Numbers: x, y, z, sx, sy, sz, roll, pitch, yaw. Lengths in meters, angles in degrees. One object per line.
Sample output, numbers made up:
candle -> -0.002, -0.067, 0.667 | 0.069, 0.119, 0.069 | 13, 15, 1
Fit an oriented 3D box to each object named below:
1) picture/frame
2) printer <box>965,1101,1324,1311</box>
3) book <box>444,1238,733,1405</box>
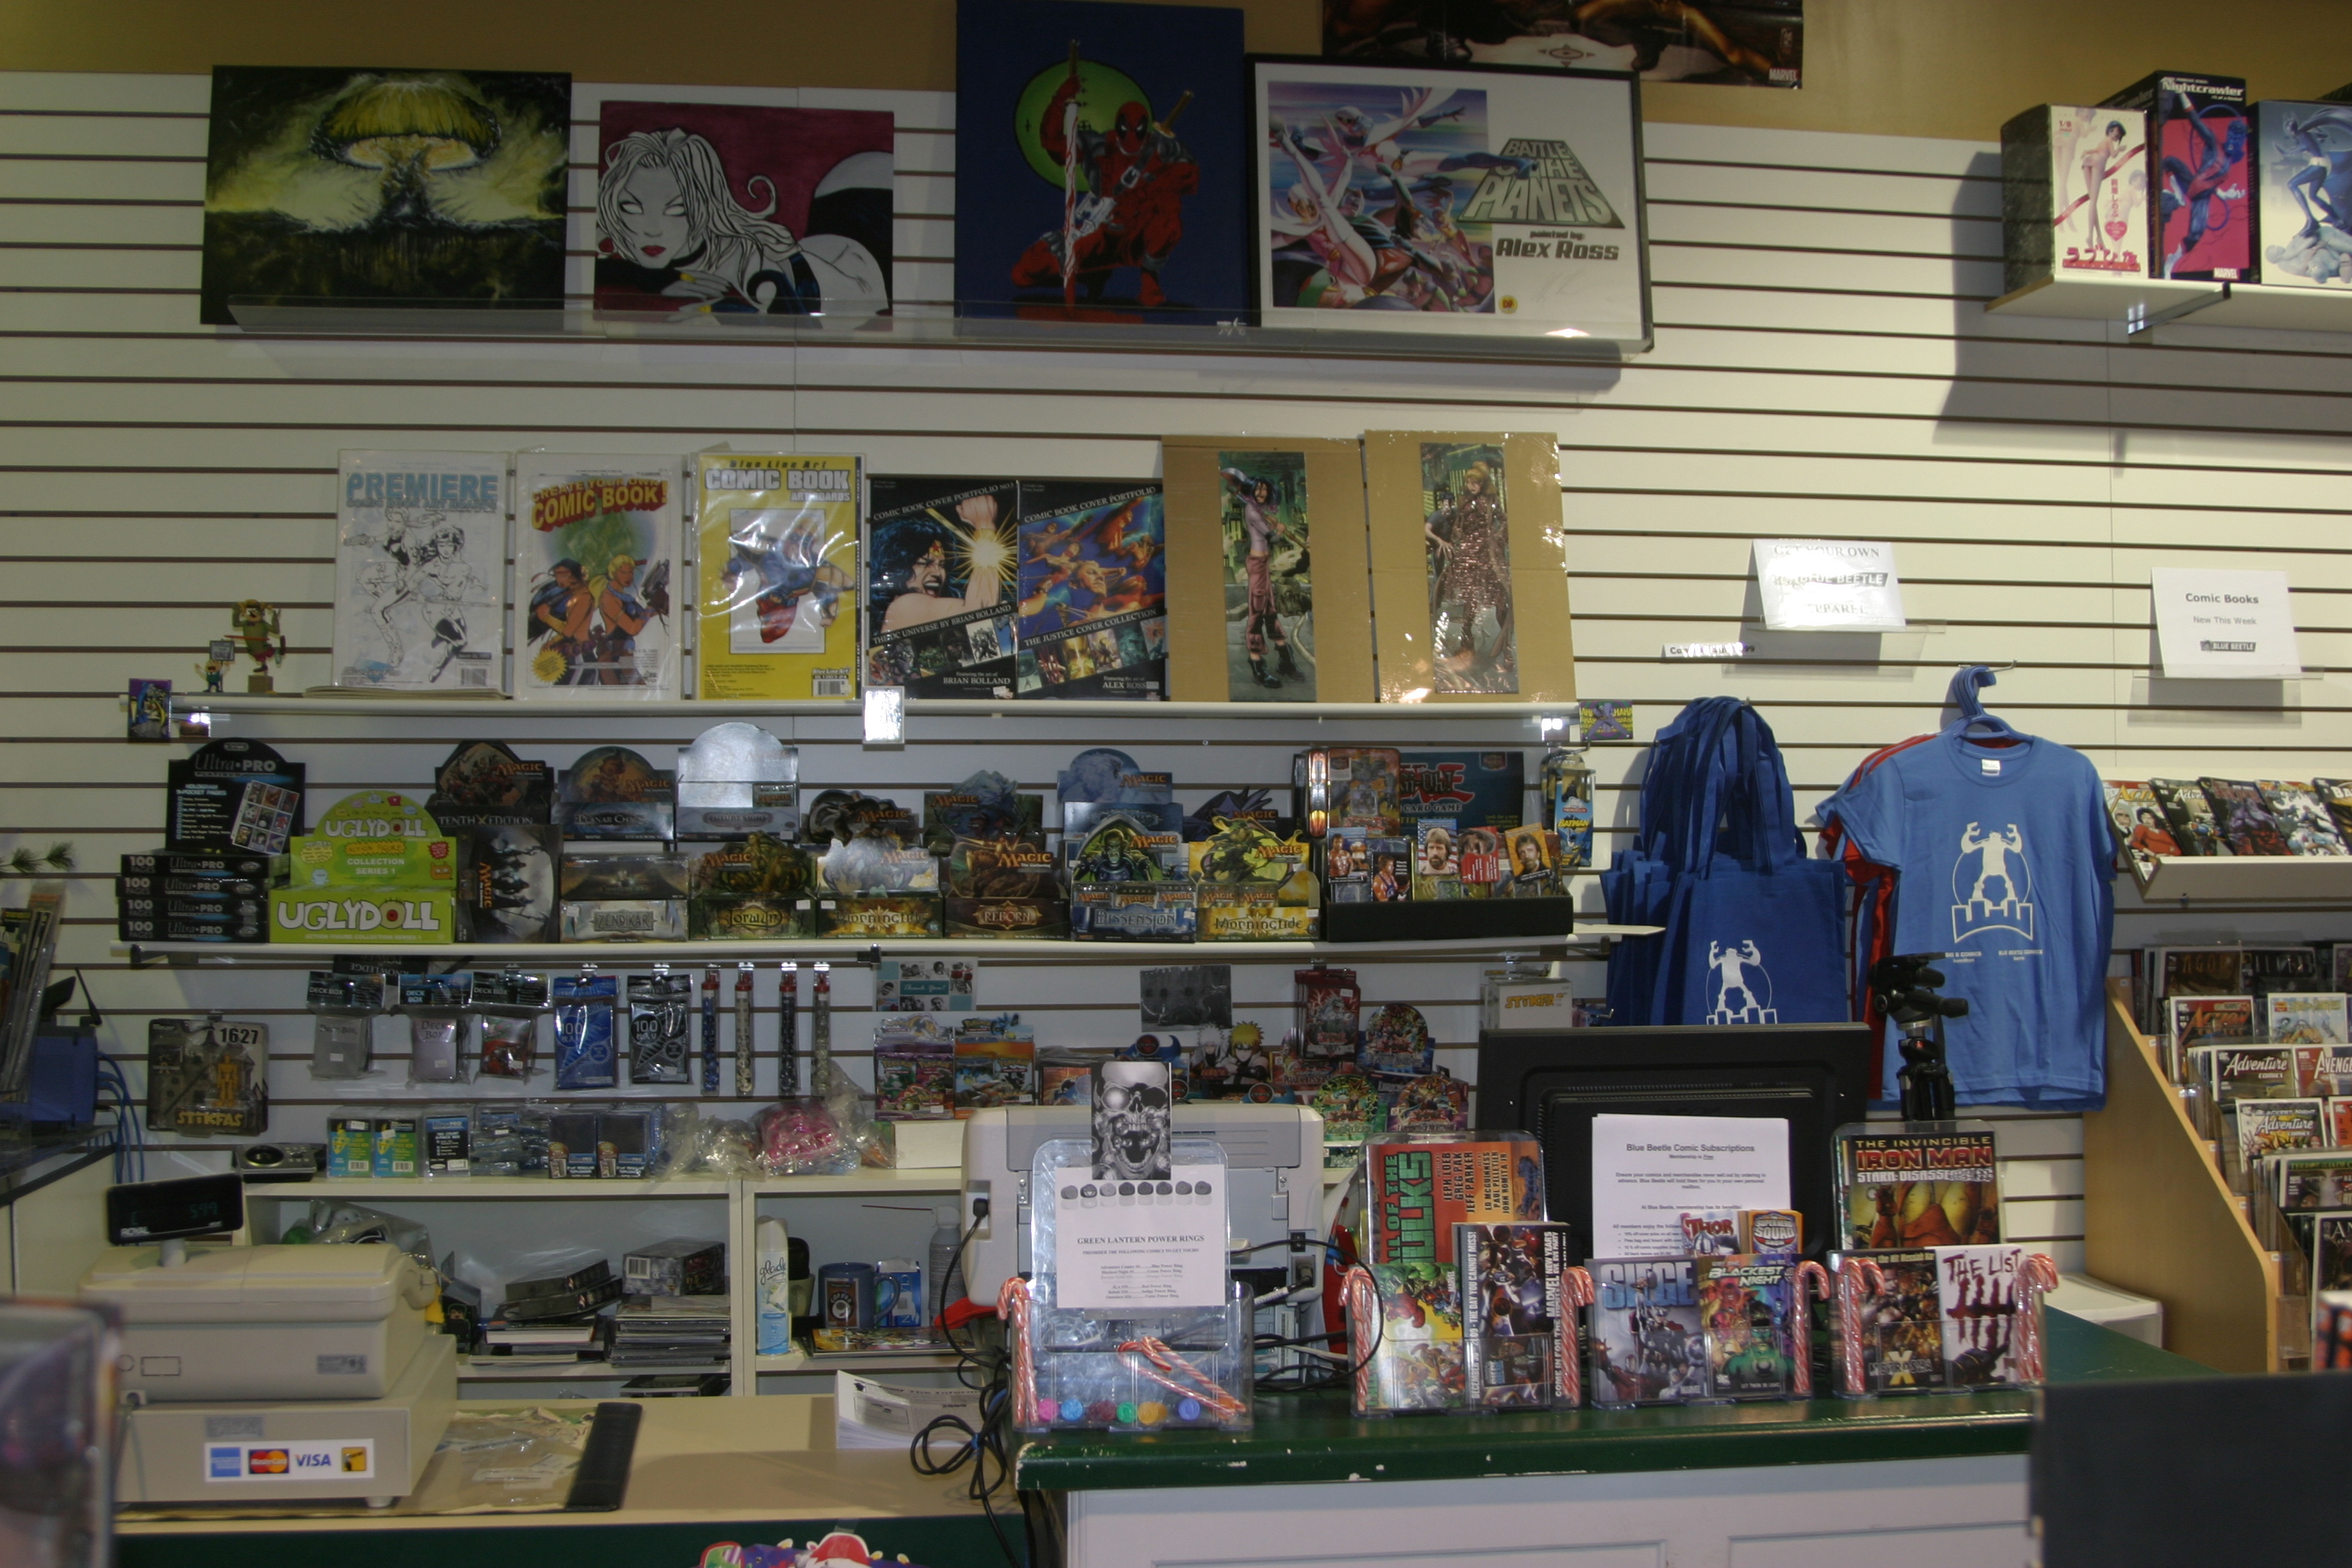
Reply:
picture/frame -> 0.840, -1.889, 9.585 | 1.027, 0.665, 0.105 | 1, -11, -8
printer -> -0.054, 0.996, 7.963 | 0.818, 0.403, 0.552 | -1, -4, -5
book -> -1.819, 1.661, 9.133 | 0.709, 0.246, 0.516 | 0, -6, 2
